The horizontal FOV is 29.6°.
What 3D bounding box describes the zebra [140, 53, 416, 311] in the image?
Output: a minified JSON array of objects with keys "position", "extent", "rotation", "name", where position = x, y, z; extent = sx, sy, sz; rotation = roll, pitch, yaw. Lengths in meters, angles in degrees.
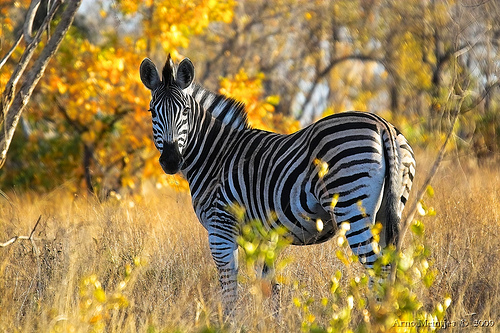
[{"position":[0.292,0.315,14.050],"extent":[4.268,3.585,1.575],"rotation":[-1,-3,27],"name":"zebra"}]
